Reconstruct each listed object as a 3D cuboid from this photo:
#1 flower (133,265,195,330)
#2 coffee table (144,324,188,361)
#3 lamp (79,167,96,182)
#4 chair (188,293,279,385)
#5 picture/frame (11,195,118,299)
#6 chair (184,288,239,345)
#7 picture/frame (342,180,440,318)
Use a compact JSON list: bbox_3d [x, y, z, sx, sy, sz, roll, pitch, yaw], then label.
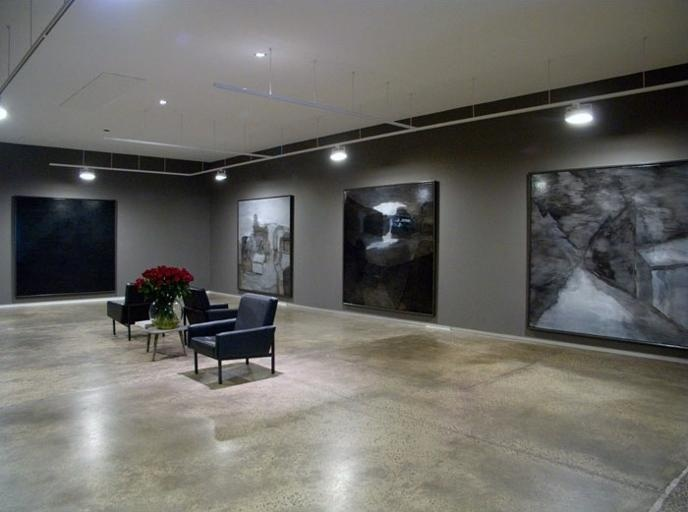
[{"bbox_3d":[-3.112,0.595,7.404,0.940,1.104,0.981,-1,2,-35],"label":"flower"},{"bbox_3d":[-3.101,1.393,7.483,0.765,0.520,0.779,2,-4,-39],"label":"coffee table"},{"bbox_3d":[-7.218,-2.336,12.400,0.517,0.207,0.518,5,-7,-36],"label":"lamp"},{"bbox_3d":[-1.514,1.111,6.435,1.199,1.364,1.147,0,0,-41],"label":"chair"},{"bbox_3d":[-8.239,-0.285,12.645,2.889,3.388,0.333,3,-4,-41],"label":"picture/frame"},{"bbox_3d":[-2.407,0.981,7.887,0.946,1.092,0.718,-1,3,-44],"label":"chair"},{"bbox_3d":[1.023,-0.205,9.957,2.467,2.864,0.254,4,6,39],"label":"picture/frame"}]
